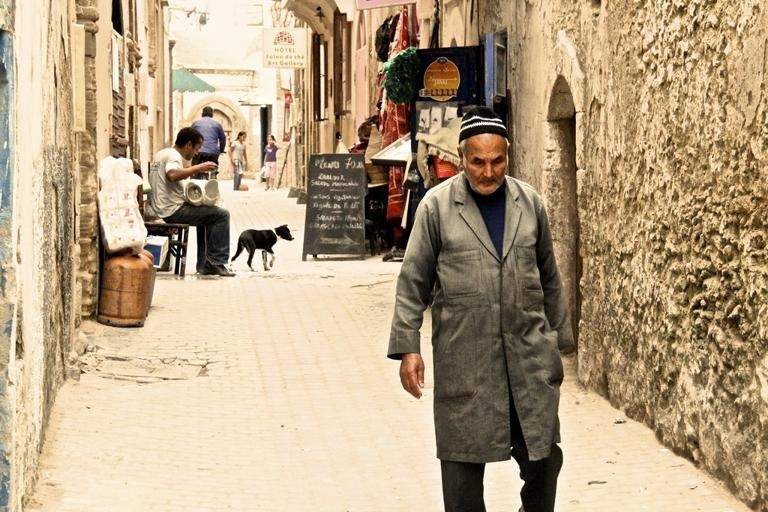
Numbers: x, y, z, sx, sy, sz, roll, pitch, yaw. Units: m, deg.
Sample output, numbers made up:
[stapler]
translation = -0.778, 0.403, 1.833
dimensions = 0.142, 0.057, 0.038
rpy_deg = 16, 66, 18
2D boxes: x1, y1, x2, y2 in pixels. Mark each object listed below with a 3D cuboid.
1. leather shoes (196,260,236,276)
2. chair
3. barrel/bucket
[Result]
[leather shoes]
translation = -2.301, 0.149, 12.364
dimensions = 0.558, 0.276, 0.201
rpy_deg = 0, 3, 4
[chair]
translation = -2.934, -0.273, 11.861
dimensions = 0.583, 0.906, 0.902
rpy_deg = 0, -3, -19
[barrel/bucket]
translation = -2.660, 0.330, 9.266
dimensions = 0.601, 1.141, 0.628
rpy_deg = 4, -3, 0
